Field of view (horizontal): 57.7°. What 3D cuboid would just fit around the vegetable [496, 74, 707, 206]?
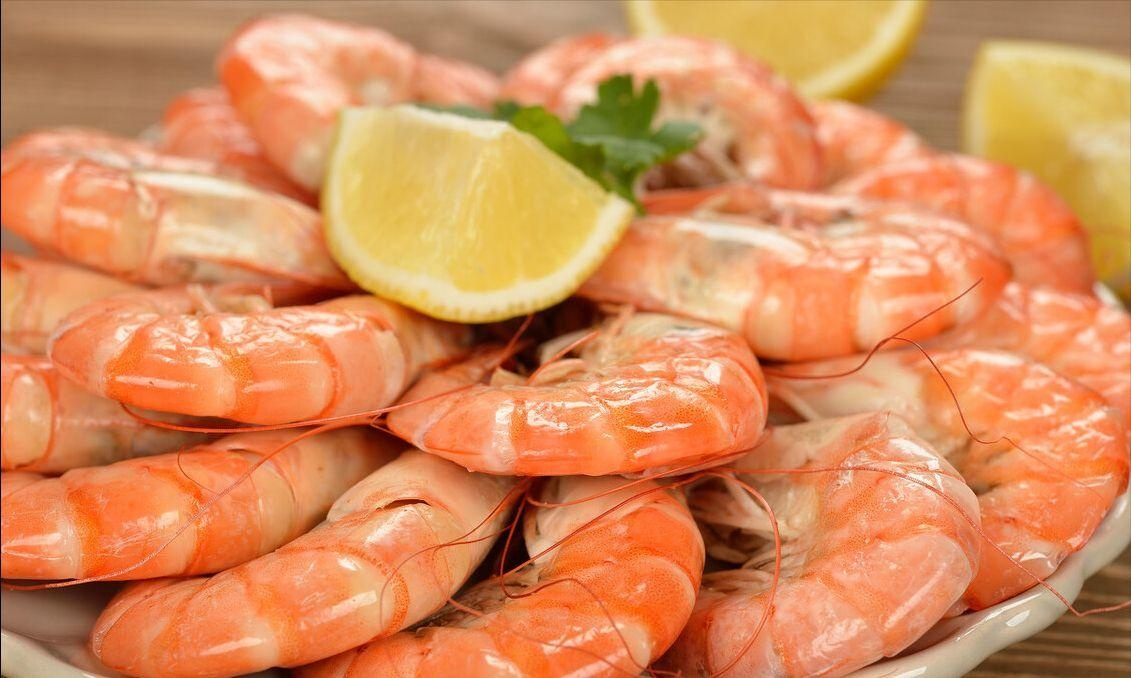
[{"bbox_3d":[0.066,-0.271,1.579,0.332,0.341,0.112,11,83,-6],"label":"vegetable"}]
